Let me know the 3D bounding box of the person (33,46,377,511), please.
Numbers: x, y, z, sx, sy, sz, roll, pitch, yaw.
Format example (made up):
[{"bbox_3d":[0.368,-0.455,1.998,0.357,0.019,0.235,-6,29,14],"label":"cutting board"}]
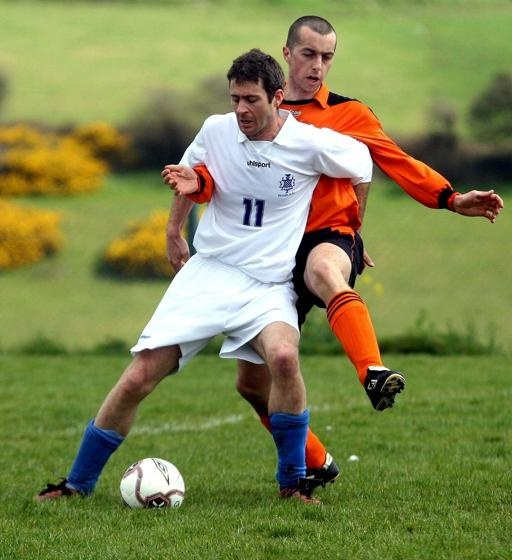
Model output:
[{"bbox_3d":[-0.171,-0.004,4.722,1.195,2.136,1.262,9,33,11],"label":"person"}]

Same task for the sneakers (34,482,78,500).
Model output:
[{"bbox_3d":[-1.023,1.095,4.821,0.265,0.086,0.078,2,-2,1],"label":"sneakers"}]

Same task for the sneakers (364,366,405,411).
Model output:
[{"bbox_3d":[0.562,0.491,4.189,0.145,0.257,0.153,-8,33,-15],"label":"sneakers"}]

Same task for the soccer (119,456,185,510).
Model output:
[{"bbox_3d":[-0.523,1.007,4.662,0.305,0.211,0.267,-5,-7,32],"label":"soccer"}]
